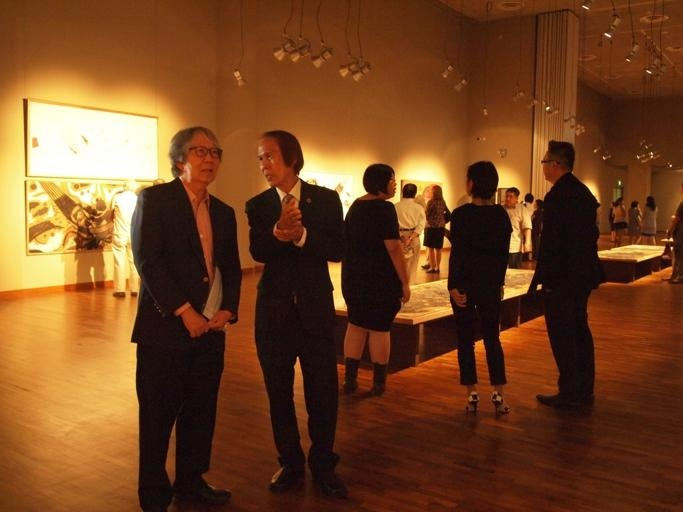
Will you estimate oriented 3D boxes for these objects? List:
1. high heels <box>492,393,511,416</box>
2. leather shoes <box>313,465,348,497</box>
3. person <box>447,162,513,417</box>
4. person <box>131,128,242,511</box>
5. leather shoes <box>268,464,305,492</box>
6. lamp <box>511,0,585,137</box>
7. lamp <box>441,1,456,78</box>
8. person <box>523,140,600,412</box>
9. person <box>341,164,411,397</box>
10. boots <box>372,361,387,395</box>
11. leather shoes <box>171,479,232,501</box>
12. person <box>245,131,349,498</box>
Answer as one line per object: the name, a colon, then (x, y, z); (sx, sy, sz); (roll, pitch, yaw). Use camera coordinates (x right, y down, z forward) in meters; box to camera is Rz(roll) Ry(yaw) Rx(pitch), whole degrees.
high heels: (1.201, 1.123, 4.013); (0.075, 0.139, 0.239); (-1, 0, 25)
leather shoes: (-0.065, 1.251, 2.934); (0.107, 0.089, 0.220); (-1, 5, -39)
person: (1.060, 0.222, 4.064); (0.479, 1.905, 0.634); (2, 7, 13)
person: (-0.792, 0.340, 2.734); (0.553, 1.992, 0.347); (-3, 7, -23)
leather shoes: (-0.323, 1.259, 3.001); (0.100, 0.090, 0.200); (-3, -8, 28)
lamp: (6.147, -4.995, 15.301); (1.272, 4.164, 1.086); (3, 7, 22)
lamp: (3.343, -6.643, 16.523); (0.252, 2.109, 0.682); (4, 8, 32)
person: (1.752, 0.139, 4.122); (0.557, 2.061, 0.322); (1, 6, 8)
person: (0.261, 0.210, 4.251); (0.531, 1.884, 0.396); (0, 6, -1)
boots: (0.308, 1.044, 4.430); (0.093, 0.158, 0.232); (6, 53, 11)
leather shoes: (-0.770, 1.280, 2.923); (0.305, 0.140, 0.128); (2, -3, -1)
person: (-0.245, 0.318, 2.924); (0.542, 2.002, 0.476); (-1, 6, -12)
